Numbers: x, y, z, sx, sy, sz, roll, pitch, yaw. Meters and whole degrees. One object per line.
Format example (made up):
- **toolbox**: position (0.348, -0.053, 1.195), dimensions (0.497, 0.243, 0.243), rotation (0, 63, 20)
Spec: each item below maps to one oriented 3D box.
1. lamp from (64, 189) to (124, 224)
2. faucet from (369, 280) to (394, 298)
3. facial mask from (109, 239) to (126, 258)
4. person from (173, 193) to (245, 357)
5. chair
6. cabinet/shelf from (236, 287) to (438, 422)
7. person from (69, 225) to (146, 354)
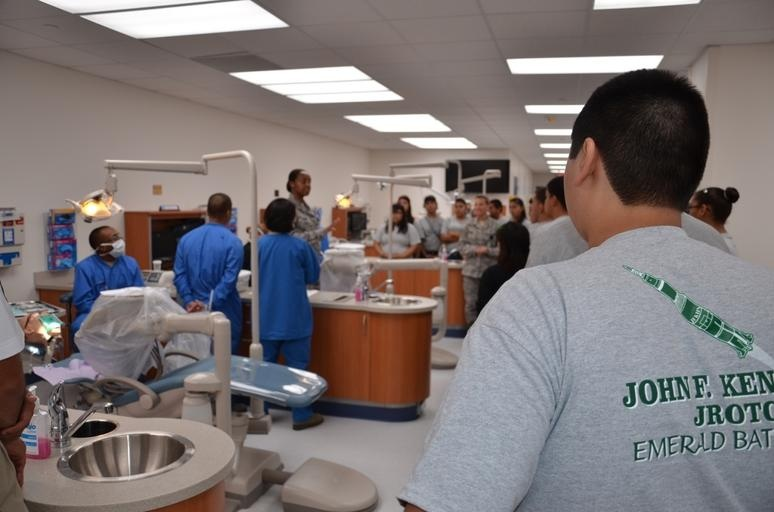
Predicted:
- **lamp**: position (-2.092, -0.314, 3.983), dimensions (0.310, 0.159, 0.332), rotation (-10, -23, 29)
- **faucet**: position (-0.062, 0.299, 4.833), dimensions (0.252, 0.155, 0.164), rotation (-2, 3, 16)
- **facial mask**: position (-2.014, -0.046, 4.220), dimensions (0.130, 0.100, 0.112), rotation (-2, 9, -10)
- **person**: position (-1.370, 0.145, 4.321), dimensions (0.513, 1.249, 0.373), rotation (0, 5, -21)
- **chair**: position (-0.899, 0.643, 2.943), dimensions (1.058, 0.243, 0.534), rotation (2, -2, 11)
- **cabinet/shelf**: position (-0.388, 0.826, 4.777), dimensions (1.504, 0.954, 0.551), rotation (0, 8, 24)
- **person**: position (-2.148, 0.161, 4.185), dimensions (0.331, 0.760, 0.652), rotation (4, 5, 21)
